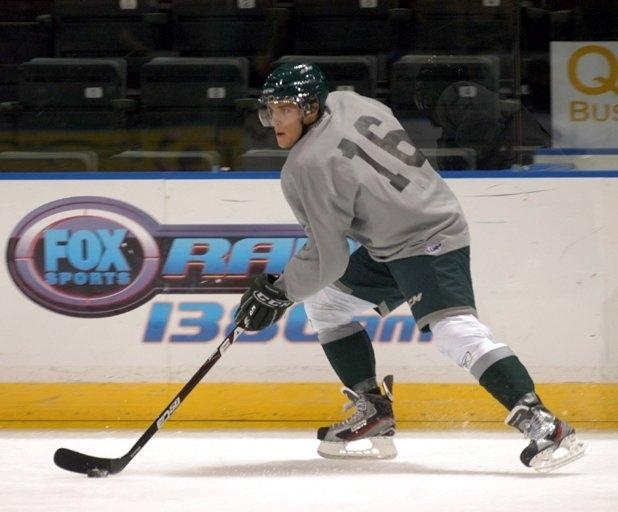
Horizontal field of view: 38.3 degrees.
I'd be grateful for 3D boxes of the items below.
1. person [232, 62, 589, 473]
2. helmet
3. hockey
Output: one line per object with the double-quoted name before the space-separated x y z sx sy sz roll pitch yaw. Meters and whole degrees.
"person" 0.342 0.053 3.080 1.126 1.411 0.396 7 17 21
"helmet" -0.085 -0.557 3.100 0.242 0.191 0.263 11 26 30
"hockey" -0.587 0.516 3.343 0.094 0.334 1.219 -46 -13 24
